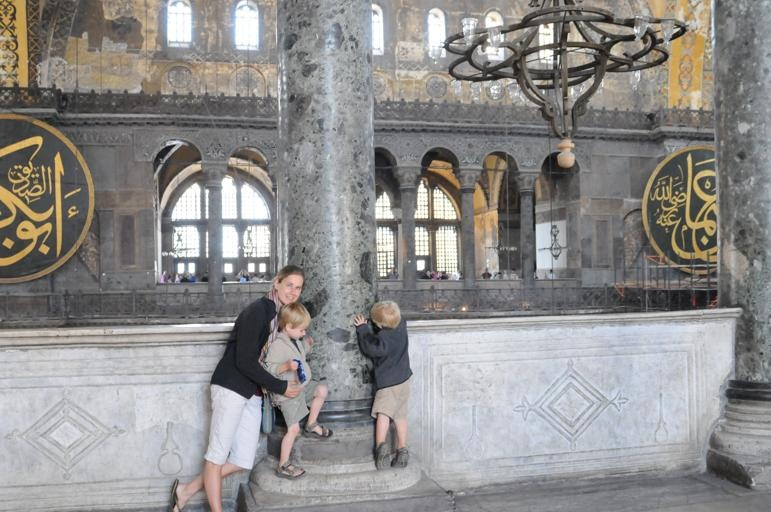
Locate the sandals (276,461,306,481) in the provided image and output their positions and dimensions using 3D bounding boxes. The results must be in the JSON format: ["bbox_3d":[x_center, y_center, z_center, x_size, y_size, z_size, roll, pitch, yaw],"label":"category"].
[{"bbox_3d":[-1.523,3.525,23.139,0.453,0.187,0.223,0,3,9],"label":"sandals"}]

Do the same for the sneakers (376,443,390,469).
[{"bbox_3d":[-0.045,3.297,23.318,0.240,0.396,0.201,3,-1,-29],"label":"sneakers"}]

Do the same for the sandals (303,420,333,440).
[{"bbox_3d":[-1.099,2.876,23.346,0.469,0.268,0.224,-1,0,-4],"label":"sandals"}]

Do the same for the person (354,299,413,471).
[{"bbox_3d":[0.017,2.107,23.346,0.902,2.749,0.348,-2,2,-5],"label":"person"}]
